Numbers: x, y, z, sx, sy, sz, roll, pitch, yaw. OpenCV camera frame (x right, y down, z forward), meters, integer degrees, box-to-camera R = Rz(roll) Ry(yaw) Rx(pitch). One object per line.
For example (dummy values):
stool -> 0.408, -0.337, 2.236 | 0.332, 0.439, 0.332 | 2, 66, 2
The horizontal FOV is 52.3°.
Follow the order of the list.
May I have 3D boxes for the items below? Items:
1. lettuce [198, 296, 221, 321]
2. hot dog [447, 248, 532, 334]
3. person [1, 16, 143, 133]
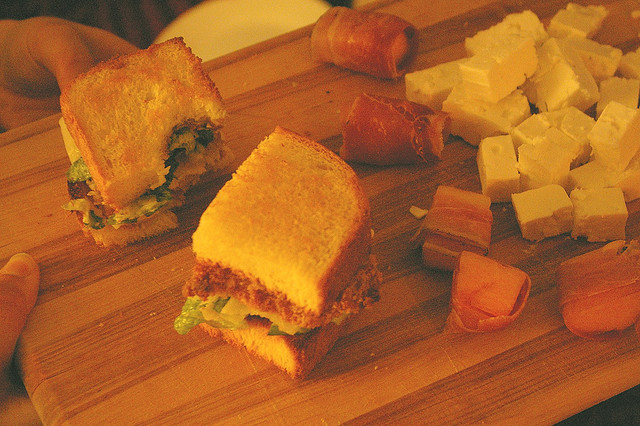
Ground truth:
lettuce -> -0.544, 0.476, 3.269 | 0.100, 0.034, 0.118 | 16, 82, -5
hot dog -> 0.817, 0.396, 3.236 | 0.346, 0.173, 0.388 | 21, 69, 15
person -> -1.805, -1.033, 4.625 | 0.936, 0.296, 0.952 | -21, 52, -25
